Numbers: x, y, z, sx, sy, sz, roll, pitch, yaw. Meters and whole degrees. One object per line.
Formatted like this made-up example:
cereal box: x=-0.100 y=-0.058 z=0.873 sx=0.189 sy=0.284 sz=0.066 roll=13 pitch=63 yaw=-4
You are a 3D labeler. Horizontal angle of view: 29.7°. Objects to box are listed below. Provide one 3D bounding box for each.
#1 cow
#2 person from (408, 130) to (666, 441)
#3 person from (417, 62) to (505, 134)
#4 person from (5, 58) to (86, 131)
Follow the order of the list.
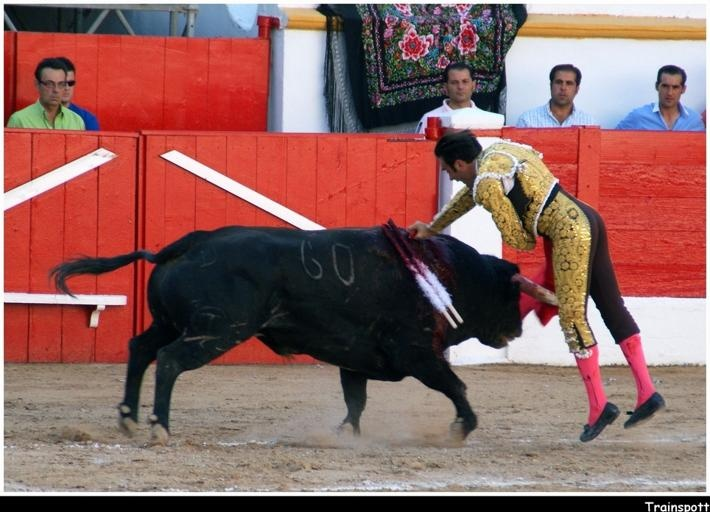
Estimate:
cow: x=-0.308 y=0.473 z=8.416 sx=3.534 sy=1.333 sz=0.761 roll=2 pitch=-1 yaw=-27
person: x=1.204 y=0.210 z=8.360 sx=1.500 sy=1.962 sz=0.472 roll=3 pitch=11 yaw=11
person: x=0.858 y=-1.250 z=10.817 sx=0.788 sy=0.571 sz=0.352 roll=-2 pitch=-3 yaw=4
person: x=-2.442 y=-1.259 z=10.553 sx=0.792 sy=0.677 sz=0.404 roll=-1 pitch=1 yaw=-36
